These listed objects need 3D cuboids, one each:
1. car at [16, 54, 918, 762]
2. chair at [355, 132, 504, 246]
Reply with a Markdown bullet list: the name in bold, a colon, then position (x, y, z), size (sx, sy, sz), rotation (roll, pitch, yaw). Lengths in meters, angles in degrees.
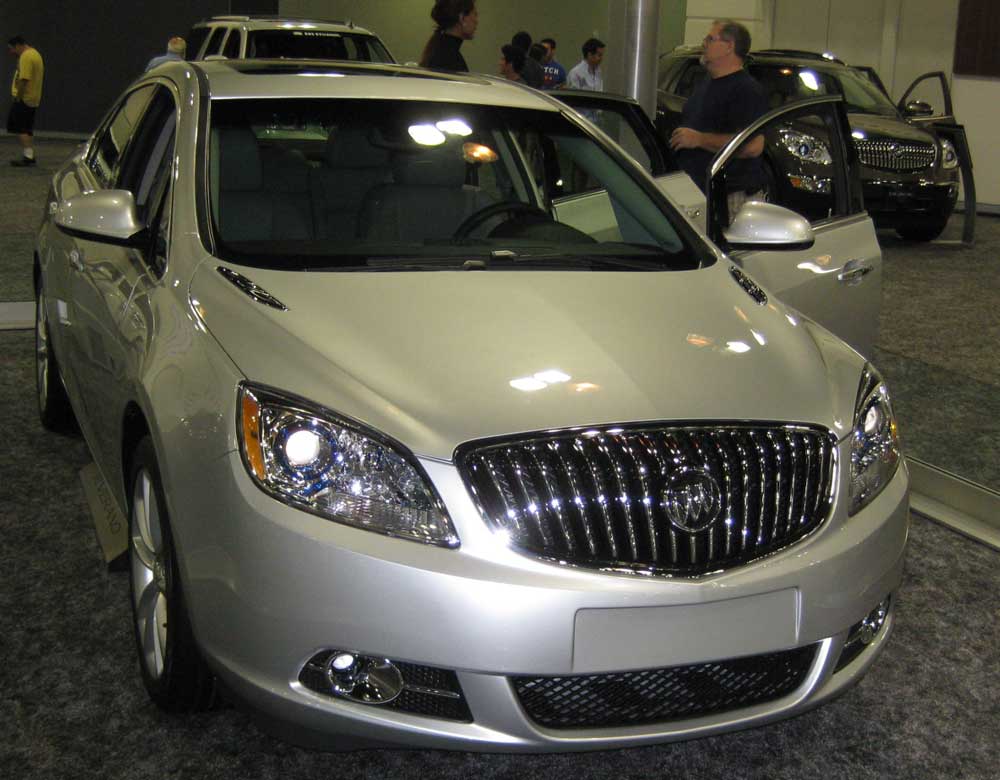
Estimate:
- **car**: position (-0.550, -0.357, 2.972), size (1.906, 1.493, 3.508), rotation (-4, 22, -36)
- **chair**: position (-0.339, -0.677, 2.689), size (0.341, 0.345, 0.369), rotation (2, 21, 41)
